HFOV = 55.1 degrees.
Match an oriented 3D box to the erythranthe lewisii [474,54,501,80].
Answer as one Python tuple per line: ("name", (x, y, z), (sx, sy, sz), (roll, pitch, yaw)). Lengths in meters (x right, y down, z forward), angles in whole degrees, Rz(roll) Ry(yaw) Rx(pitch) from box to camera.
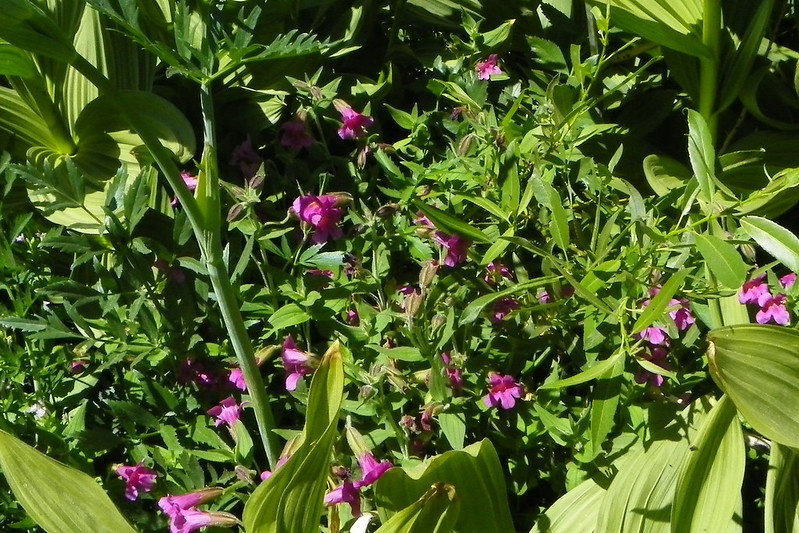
("erythranthe lewisii", (0.200, -0.446, 1.703), (0.049, 0.036, 0.093), (0, 40, 19))
